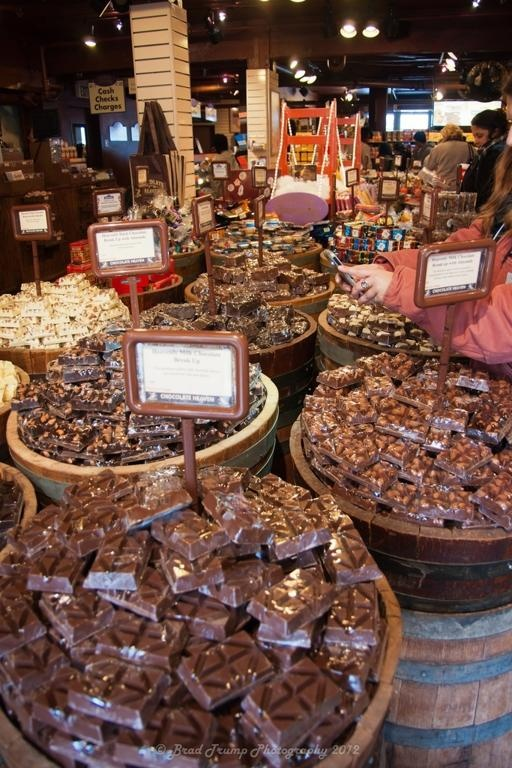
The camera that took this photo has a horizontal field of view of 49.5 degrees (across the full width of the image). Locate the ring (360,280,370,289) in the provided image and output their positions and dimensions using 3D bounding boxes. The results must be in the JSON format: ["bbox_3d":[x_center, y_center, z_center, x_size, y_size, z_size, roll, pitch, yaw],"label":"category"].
[{"bbox_3d":[0.360,-0.332,1.844,0.007,0.025,0.025,1,3,-42],"label":"ring"}]
